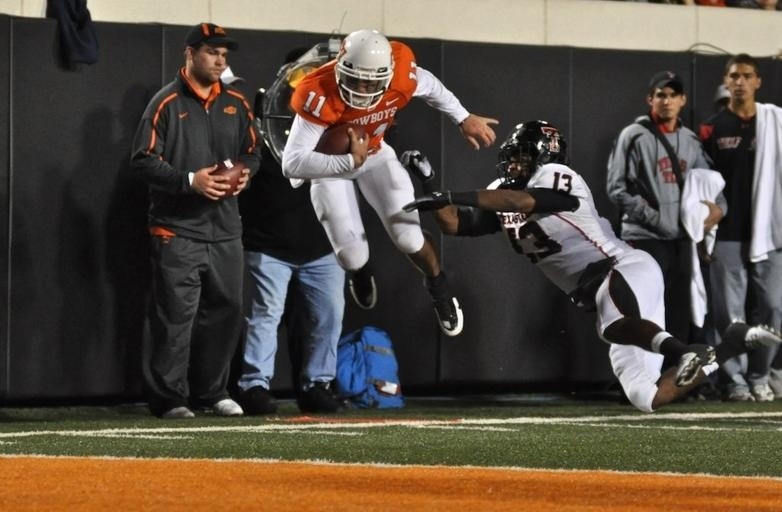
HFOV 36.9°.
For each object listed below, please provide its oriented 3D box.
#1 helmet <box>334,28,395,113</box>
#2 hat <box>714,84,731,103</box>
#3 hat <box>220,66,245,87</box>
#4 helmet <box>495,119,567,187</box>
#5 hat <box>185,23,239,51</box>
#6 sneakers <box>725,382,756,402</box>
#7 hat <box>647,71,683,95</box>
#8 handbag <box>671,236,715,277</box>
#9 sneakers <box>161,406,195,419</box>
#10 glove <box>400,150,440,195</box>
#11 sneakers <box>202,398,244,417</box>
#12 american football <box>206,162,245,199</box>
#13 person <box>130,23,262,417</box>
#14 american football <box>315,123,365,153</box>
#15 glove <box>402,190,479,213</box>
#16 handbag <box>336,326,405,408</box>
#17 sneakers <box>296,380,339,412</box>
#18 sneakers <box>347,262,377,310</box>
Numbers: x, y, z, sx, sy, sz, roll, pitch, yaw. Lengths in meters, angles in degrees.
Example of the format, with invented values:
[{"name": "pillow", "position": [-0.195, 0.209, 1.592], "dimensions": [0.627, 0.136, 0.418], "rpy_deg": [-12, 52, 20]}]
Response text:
[{"name": "helmet", "position": [-0.136, -1.021, 6.438], "dimensions": [0.341, 0.403, 0.361], "rpy_deg": [8, -27, -7]}, {"name": "hat", "position": [2.278, -1.109, 7.960], "dimensions": [0.084, 0.097, 0.109], "rpy_deg": [2, -14, 7]}, {"name": "hat", "position": [-0.999, -1.103, 7.283], "dimensions": [0.113, 0.059, 0.169], "rpy_deg": [-19, 36, -28]}, {"name": "helmet", "position": [0.773, -0.574, 6.666], "dimensions": [0.443, 0.346, 0.329], "rpy_deg": [-2, 5, -3]}, {"name": "hat", "position": [-1.046, -1.275, 6.821], "dimensions": [0.255, 0.116, 0.168], "rpy_deg": [-4, 11, 1]}, {"name": "sneakers", "position": [2.274, 0.879, 7.532], "dimensions": [0.206, 0.083, 0.078], "rpy_deg": [-1, -6, 20]}, {"name": "hat", "position": [1.786, -1.118, 7.469], "dimensions": [0.165, 0.114, 0.207], "rpy_deg": [7, -15, 7]}, {"name": "handbag", "position": [1.925, -0.014, 7.418], "dimensions": [0.196, 0.084, 0.310], "rpy_deg": [-2, -18, 8]}, {"name": "sneakers", "position": [-1.215, 0.883, 6.717], "dimensions": [0.199, 0.072, 0.069], "rpy_deg": [-7, -8, 19]}, {"name": "glove", "position": [0.156, -0.467, 6.707], "dimensions": [0.205, 0.274, 0.112], "rpy_deg": [-31, 19, -32]}, {"name": "sneakers", "position": [-0.991, 0.879, 6.883], "dimensions": [0.245, 0.073, 0.092], "rpy_deg": [-6, -8, 30]}, {"name": "american football", "position": [-0.956, -0.439, 6.717], "dimensions": [0.100, 0.154, 0.185], "rpy_deg": [37, 34, 26]}, {"name": "person", "position": [-1.135, -0.212, 6.854], "dimensions": [0.724, 2.264, 0.474], "rpy_deg": [-1, 2, -7]}, {"name": "american football", "position": [-0.285, -0.638, 6.477], "dimensions": [0.231, 0.133, 0.133], "rpy_deg": [-29, -2, -17]}, {"name": "glove", "position": [0.283, -0.303, 6.495], "dimensions": [0.292, 0.077, 0.073], "rpy_deg": [-10, 31, 15]}, {"name": "handbag", "position": [-0.133, 0.717, 7.439], "dimensions": [0.497, 0.538, 0.469], "rpy_deg": [-1, -17, -1]}, {"name": "sneakers", "position": [-0.428, 0.840, 7.067], "dimensions": [0.188, 0.170, 0.231], "rpy_deg": [-2, 3, -28]}, {"name": "sneakers", "position": [-0.130, 0.175, 7.010], "dimensions": [0.202, 0.266, 0.095], "rpy_deg": [-4, 16, 33]}]
